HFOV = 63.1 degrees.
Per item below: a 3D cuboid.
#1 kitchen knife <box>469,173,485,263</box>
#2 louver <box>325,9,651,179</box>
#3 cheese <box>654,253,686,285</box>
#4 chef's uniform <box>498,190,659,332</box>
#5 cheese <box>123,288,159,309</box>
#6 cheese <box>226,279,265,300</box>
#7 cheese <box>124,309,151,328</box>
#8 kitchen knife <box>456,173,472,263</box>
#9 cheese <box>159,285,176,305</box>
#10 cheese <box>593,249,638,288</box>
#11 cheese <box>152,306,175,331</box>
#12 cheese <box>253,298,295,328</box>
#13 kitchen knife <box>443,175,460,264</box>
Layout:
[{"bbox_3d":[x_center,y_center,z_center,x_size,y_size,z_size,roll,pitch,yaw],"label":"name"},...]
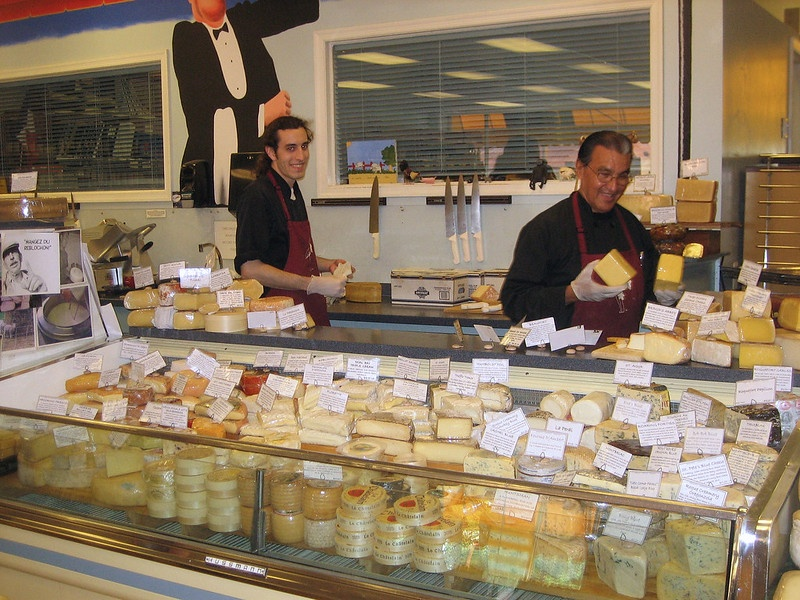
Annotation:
[{"bbox_3d":[0.543,-0.569,4.677,0.103,0.600,0.031,-2,10,14],"label":"kitchen knife"},{"bbox_3d":[0.540,-1.429,4.846,2.502,1.197,0.039,4,2,23],"label":"louver"},{"bbox_3d":[1.035,-0.117,2.501,0.113,0.107,0.112,4,2,0],"label":"cheese"},{"bbox_3d":[0.843,-0.166,2.960,0.821,0.662,0.426,-8,15,-22],"label":"chef's uniform"},{"bbox_3d":[-1.198,-0.012,3.050,0.123,0.055,0.095,-5,7,-25],"label":"cheese"},{"bbox_3d":[-0.706,-0.053,3.004,0.149,0.100,0.083,2,2,-26],"label":"cheese"},{"bbox_3d":[-1.196,0.086,3.014,0.096,0.093,0.033,2,-3,8],"label":"cheese"},{"bbox_3d":[0.455,-0.591,4.708,0.104,0.614,0.029,-4,5,29],"label":"kitchen knife"},{"bbox_3d":[-1.091,-0.049,3.065,0.079,0.120,0.135,-4,8,-24],"label":"cheese"},{"bbox_3d":[0.821,-0.115,2.498,0.141,0.138,0.094,-42,-6,22],"label":"cheese"},{"bbox_3d":[-1.071,0.086,2.957,0.105,0.102,0.037,1,5,15],"label":"cheese"},{"bbox_3d":[-0.576,0.064,2.899,0.141,0.083,0.140,-1,7,15],"label":"cheese"},{"bbox_3d":[0.365,-0.565,4.704,0.104,0.608,0.041,1,13,21],"label":"kitchen knife"}]
